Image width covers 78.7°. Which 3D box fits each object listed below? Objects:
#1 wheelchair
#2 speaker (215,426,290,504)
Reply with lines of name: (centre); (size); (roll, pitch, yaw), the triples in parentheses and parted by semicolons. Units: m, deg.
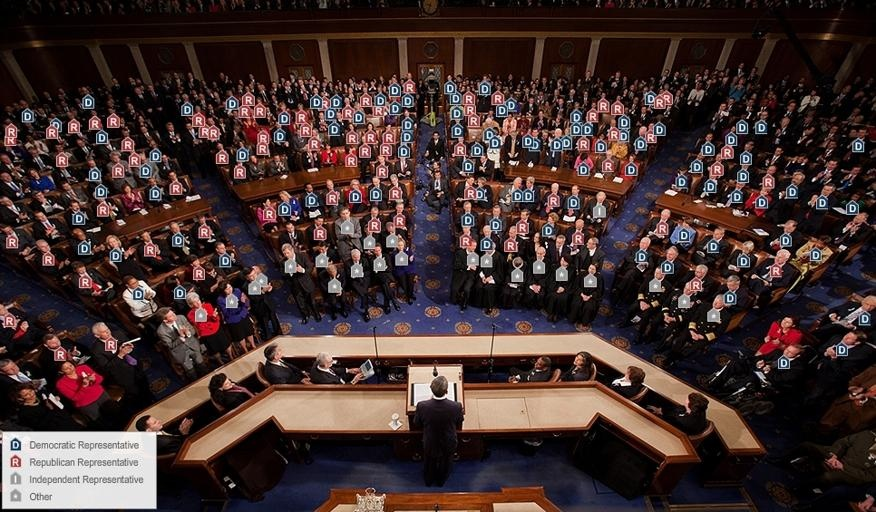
wheelchair: (9.323, 4.006, 16.302); (2.182, 0.751, 1.551); (-27, 45, -16)
speaker: (-5.118, 5.858, 14.935); (1.738, 2.009, 0.759); (-17, 37, -26)
